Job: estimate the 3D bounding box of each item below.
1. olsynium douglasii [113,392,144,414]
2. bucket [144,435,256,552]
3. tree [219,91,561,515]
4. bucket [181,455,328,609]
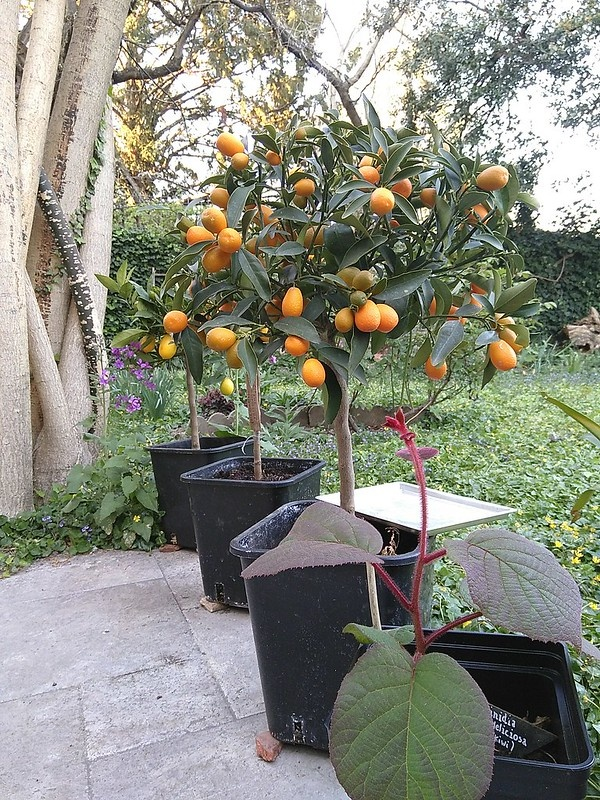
[{"bbox_3d":[-1.037,0.010,3.777,0.126,0.067,0.119,9,19,3],"label":"olsynium douglasii"},{"bbox_3d":[-0.398,0.335,2.923,0.446,0.518,0.741,-1,8,5],"label":"bucket"},{"bbox_3d":[0.269,-0.204,1.419,0.753,0.881,0.627,-4,4,-10],"label":"tree"},{"bbox_3d":[-0.129,0.450,2.346,0.428,0.388,0.592,1,4,22],"label":"bucket"}]
